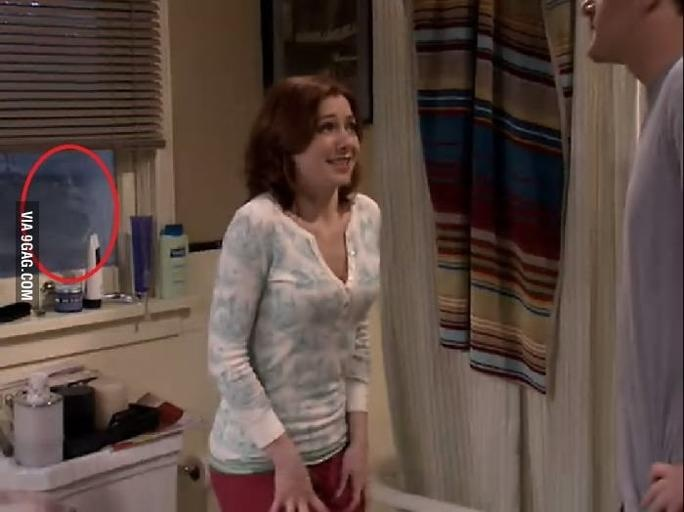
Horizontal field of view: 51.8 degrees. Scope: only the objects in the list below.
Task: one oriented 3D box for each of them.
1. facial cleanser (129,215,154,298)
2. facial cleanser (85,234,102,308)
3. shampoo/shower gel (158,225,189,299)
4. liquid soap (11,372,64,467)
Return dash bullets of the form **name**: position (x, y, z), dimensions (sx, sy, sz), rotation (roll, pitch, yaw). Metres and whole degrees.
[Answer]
- **facial cleanser**: position (-0.636, 0.001, 2.246), dimensions (0.069, 0.257, 0.061), rotation (-5, 6, -35)
- **facial cleanser**: position (-0.769, 0.048, 2.159), dimensions (0.060, 0.229, 0.056), rotation (7, 10, 28)
- **shampoo/shower gel**: position (-0.545, 0.016, 2.263), dimensions (0.085, 0.248, 0.124), rotation (1, 2, 38)
- **liquid soap**: position (-0.769, 0.416, 1.785), dimensions (0.083, 0.268, 0.094), rotation (14, 13, 28)
